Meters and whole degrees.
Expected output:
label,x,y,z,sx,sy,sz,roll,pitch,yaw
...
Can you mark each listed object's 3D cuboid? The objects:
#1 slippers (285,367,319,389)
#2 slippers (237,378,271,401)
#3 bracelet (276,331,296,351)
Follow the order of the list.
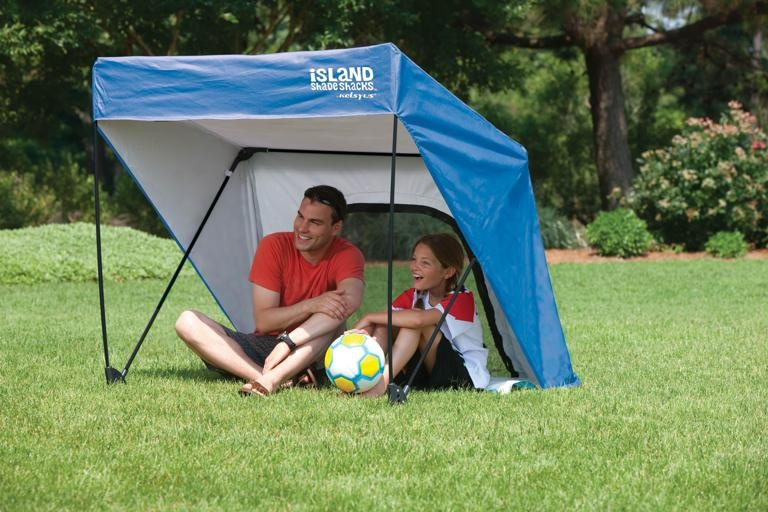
label,x,y,z,sx,sy,sz,roll,pitch,yaw
slippers,-1.223,1.922,18.259,0.361,0.105,0.377,-42,-27,8
slippers,-1.930,2.022,17.888,0.360,0.236,0.138,12,23,16
bracelet,-1.447,1.275,18.116,0.207,0.301,0.309,-33,10,-18
